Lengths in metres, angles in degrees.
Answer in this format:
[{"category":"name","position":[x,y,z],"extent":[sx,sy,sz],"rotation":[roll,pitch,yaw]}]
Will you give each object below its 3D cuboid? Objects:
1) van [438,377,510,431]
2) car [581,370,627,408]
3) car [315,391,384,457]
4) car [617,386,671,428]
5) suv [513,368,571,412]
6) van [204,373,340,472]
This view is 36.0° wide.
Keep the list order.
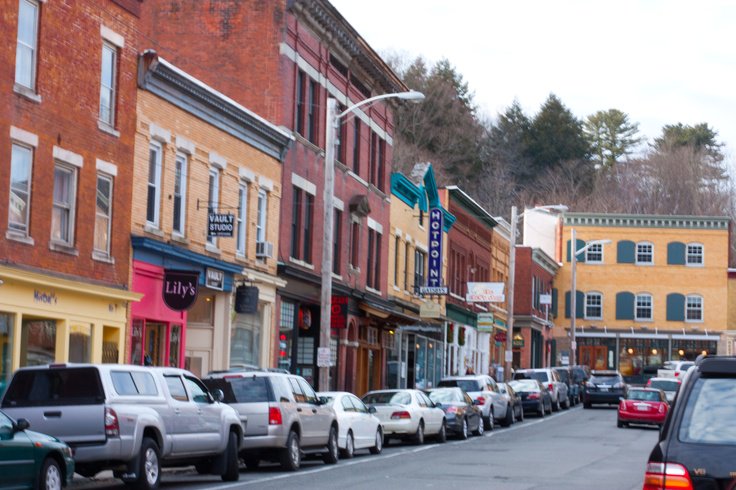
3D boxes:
[{"category":"van","position":[4.235,6.090,44.271],"extent":[2.169,2.284,5.208],"rotation":[-3,-7,21]},{"category":"car","position":[11.542,6.890,55.120],"extent":[1.917,1.794,1.578],"rotation":[-6,-15,14]},{"category":"car","position":[-0.837,5.392,33.844],"extent":[1.640,1.855,4.073],"rotation":[-6,-9,21]},{"category":"car","position":[11.085,6.419,44.901],"extent":[1.891,1.860,3.924],"rotation":[2,0,20]},{"category":"suv","position":[8.815,6.919,54.477],"extent":[1.791,1.789,4.721],"rotation":[-3,-7,24]},{"category":"van","position":[-2.256,4.586,30.489],"extent":[1.783,1.755,3.627],"rotation":[-2,-4,23]}]
